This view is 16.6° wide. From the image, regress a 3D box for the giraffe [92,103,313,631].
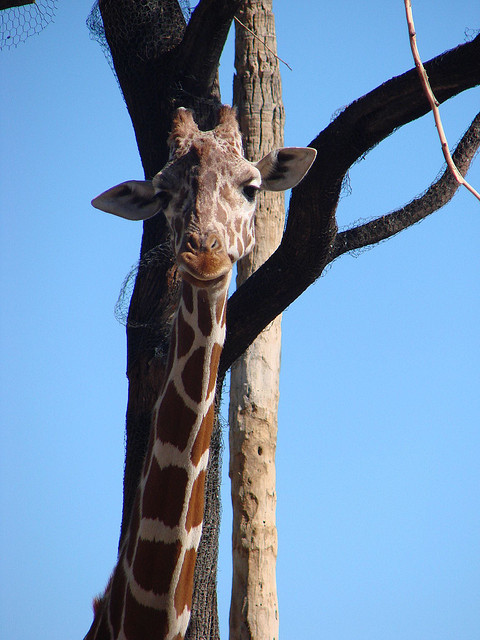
[{"bbox_3d":[-0.317,-0.010,10.430,1.091,3.278,2.127,13,-44,-7],"label":"giraffe"}]
